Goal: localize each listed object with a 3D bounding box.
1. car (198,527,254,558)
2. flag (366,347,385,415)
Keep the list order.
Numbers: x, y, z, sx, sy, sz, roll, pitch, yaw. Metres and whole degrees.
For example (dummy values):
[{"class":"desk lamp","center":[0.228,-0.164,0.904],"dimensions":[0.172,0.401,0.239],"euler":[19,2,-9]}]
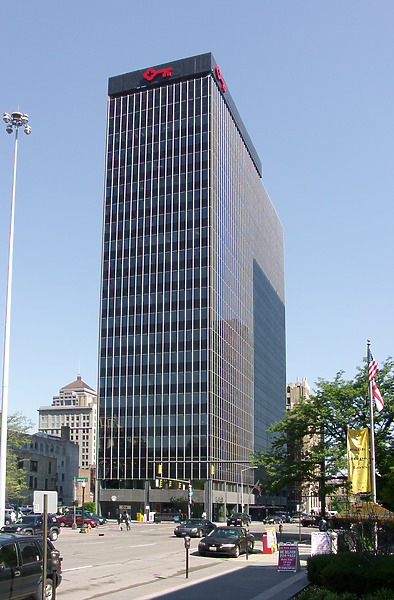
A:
[{"class":"car","center":[1.494,11.034,35.353],"dimensions":[1.151,0.796,2.731],"euler":[-7,-27,16]},{"class":"flag","center":[8.656,4.006,38.325],"dimensions":[0.562,5.061,0.405],"euler":[-5,30,14]}]
